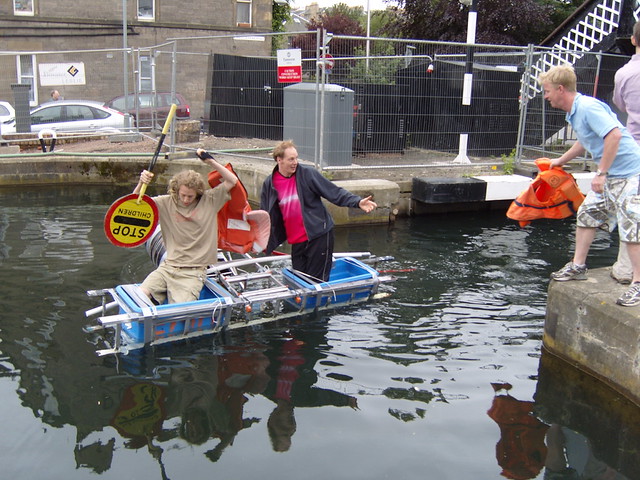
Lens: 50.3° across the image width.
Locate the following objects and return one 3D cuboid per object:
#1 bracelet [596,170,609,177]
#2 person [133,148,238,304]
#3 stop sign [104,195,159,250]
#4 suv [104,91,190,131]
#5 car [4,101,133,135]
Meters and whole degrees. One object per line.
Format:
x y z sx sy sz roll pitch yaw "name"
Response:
2.667 -0.630 6.419 0.095 0.061 0.056 2 17 18 "bracelet"
-1.510 -0.091 7.325 0.955 1.633 1.131 11 19 35 "person"
-2.079 -0.186 7.569 0.785 0.710 0.106 -9 26 -23 "stop sign"
-4.232 -3.234 16.845 2.356 1.027 1.343 1 12 -9 "suv"
-6.161 -2.938 16.471 2.731 0.825 1.149 -1 12 -12 "car"
